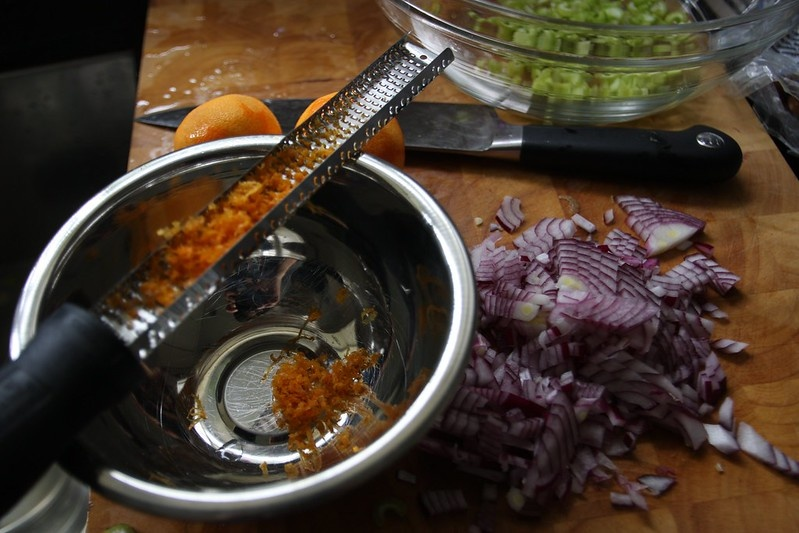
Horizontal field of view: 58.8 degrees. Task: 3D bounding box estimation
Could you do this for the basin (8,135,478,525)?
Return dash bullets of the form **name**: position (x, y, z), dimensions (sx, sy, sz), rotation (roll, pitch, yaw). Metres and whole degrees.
- **basin**: position (-0.255, 0.088, 1.214), dimensions (0.718, 0.317, 0.648), rotation (14, 77, -5)
